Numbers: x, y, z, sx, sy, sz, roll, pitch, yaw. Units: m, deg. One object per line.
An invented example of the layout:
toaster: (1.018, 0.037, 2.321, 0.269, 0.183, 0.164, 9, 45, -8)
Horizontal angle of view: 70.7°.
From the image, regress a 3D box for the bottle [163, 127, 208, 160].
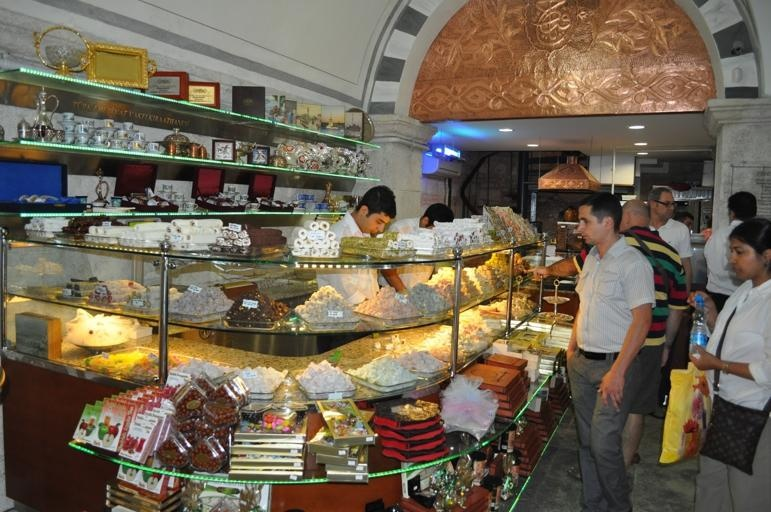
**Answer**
bottle: (-1.681, -0.934, 4.581, 0.303, 0.164, 0.289, 1, 5, 0)

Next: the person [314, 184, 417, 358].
person: (-0.163, 0.246, 4.297, 0.533, 1.396, 0.569, -1, 1, 33)

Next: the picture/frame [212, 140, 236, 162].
picture/frame: (-1.457, -0.941, 4.906, 0.212, 0.184, 0.048, 2, 6, -26)

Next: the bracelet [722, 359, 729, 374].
bracelet: (2.146, 0.708, 3.445, 0.046, 0.066, 0.062, 18, 56, 36)

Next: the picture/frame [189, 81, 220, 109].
picture/frame: (-1.546, -1.429, 4.850, 0.399, 0.198, 0.364, 0, 17, -19)

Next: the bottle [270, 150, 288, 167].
bottle: (-1.077, -0.966, 5.445, 0.175, 0.150, 0.167, 1, 0, -45)

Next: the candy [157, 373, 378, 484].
candy: (-0.675, 0.987, 3.301, 1.105, 0.311, 0.628, 4, 2, 8)

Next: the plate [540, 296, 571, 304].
plate: (1.830, 0.484, 5.946, 0.204, 0.029, 0.193, 1, 5, 4)

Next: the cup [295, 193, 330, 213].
cup: (-0.806, -0.564, 5.945, 0.281, 0.150, 0.383, 1, 7, -1)

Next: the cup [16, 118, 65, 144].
cup: (-2.402, -0.862, 3.828, 0.120, 0.142, 0.320, 3, 6, 30)

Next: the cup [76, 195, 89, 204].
cup: (-2.347, -0.434, 4.207, 0.100, 0.056, 0.064, 2, 11, 1)
